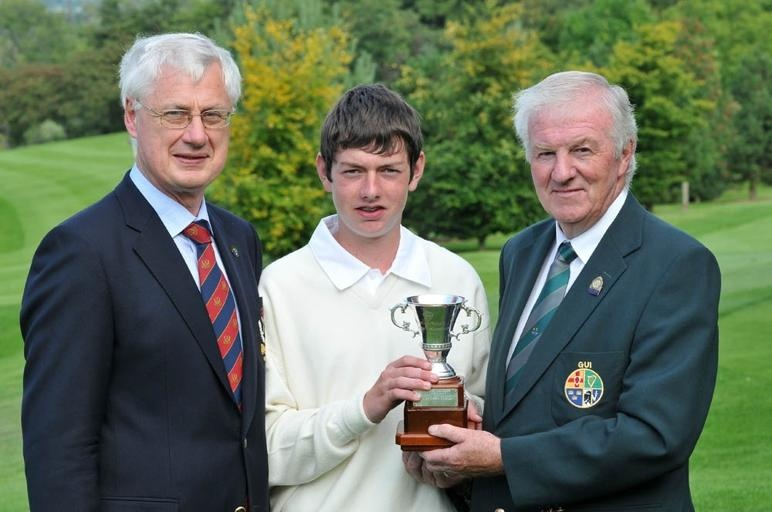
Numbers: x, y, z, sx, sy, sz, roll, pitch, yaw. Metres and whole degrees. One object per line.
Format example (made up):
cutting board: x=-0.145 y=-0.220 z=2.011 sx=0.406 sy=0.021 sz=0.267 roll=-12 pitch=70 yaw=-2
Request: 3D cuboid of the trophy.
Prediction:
trophy: x=0.438 y=1.020 z=9.712 sx=1.279 sy=1.880 sz=1.201 roll=0 pitch=0 yaw=3
